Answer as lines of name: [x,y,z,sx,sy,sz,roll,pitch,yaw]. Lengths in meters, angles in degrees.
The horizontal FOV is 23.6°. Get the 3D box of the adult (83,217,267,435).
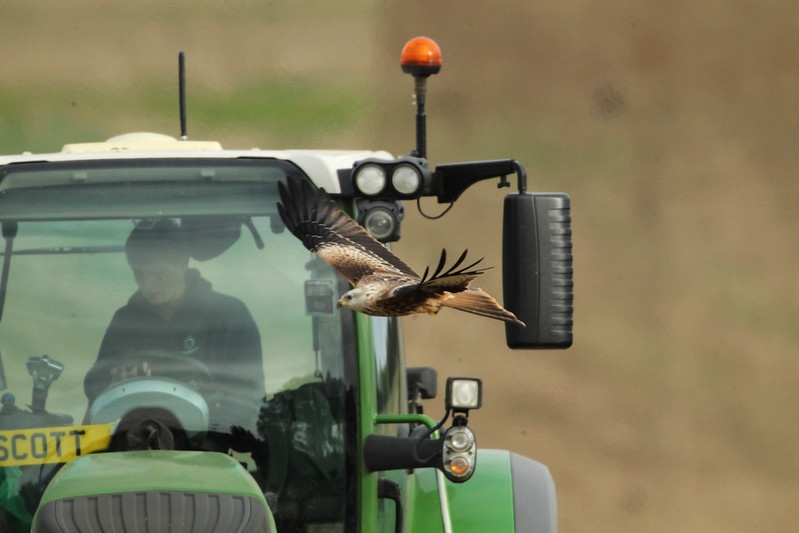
adult: [-2.082,0.889,16.357,1.946,2.511,1.405,1,10,-5]

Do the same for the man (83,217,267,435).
man: [-1.905,0.578,16.386,1.059,1.930,1.044,-6,4,-37]

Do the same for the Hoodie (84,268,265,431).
Hoodie: [-1.694,0.756,16.612,1.968,1.667,1.056,3,-9,5]

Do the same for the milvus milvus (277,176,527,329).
milvus milvus: [0.012,-0.059,16.257,2.160,0.973,1.514,18,30,38]

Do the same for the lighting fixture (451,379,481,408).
lighting fixture: [0.537,1.070,16.393,0.316,0.298,0.230,0,-1,-2]
